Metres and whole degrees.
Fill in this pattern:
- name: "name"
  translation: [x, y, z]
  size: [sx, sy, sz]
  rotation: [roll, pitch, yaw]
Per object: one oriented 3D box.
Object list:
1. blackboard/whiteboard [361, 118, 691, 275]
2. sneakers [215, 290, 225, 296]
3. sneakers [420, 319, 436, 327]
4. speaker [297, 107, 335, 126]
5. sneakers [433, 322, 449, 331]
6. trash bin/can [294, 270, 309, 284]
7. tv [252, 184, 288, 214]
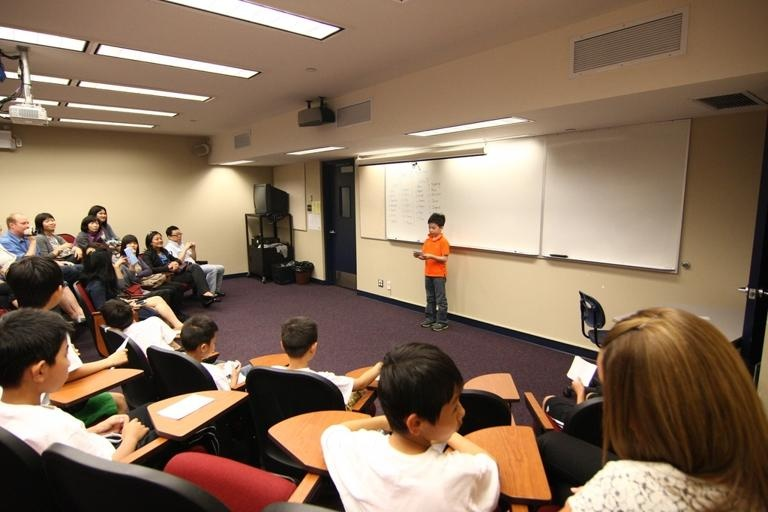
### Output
- name: "blackboard/whiteboard"
  translation: [1.433, -0.689, 5.643]
  size: [3.477, 1.380, 0.158]
  rotation: [7, 8, 43]
- name: "sneakers"
  translation: [-2.479, 0.582, 7.629]
  size: [0.206, 0.089, 0.077]
  rotation: [-1, 9, -15]
- name: "sneakers"
  translation: [0.543, 0.861, 6.276]
  size: [0.153, 0.071, 0.072]
  rotation: [3, 3, -9]
- name: "speaker"
  translation: [-0.822, -1.707, 6.047]
  size: [0.444, 0.184, 0.257]
  rotation: [1, 6, -6]
- name: "sneakers"
  translation: [0.697, 0.890, 6.142]
  size: [0.084, 0.081, 0.185]
  rotation: [-1, -4, 41]
- name: "trash bin/can"
  translation: [-1.416, 0.368, 8.599]
  size: [0.235, 0.185, 0.234]
  rotation: [0, 2, -33]
- name: "tv"
  translation: [-2.077, -1.012, 8.985]
  size: [0.551, 0.553, 0.563]
  rotation: [4, 7, 45]
